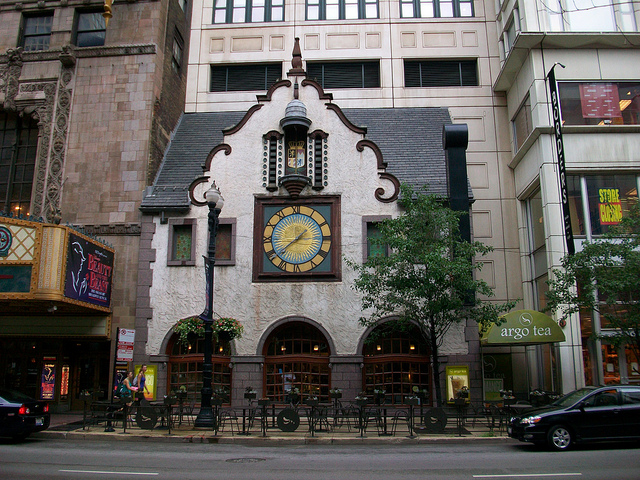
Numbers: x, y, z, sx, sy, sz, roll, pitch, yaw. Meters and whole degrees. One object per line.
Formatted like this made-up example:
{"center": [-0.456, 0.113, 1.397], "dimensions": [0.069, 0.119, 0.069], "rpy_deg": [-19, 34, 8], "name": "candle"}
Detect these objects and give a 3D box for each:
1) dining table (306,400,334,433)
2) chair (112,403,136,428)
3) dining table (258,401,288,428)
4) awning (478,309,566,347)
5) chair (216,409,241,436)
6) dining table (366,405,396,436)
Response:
{"center": [0.015, 6.817, 27.115], "dimensions": [0.979, 0.820, 0.999], "rpy_deg": [-9, -14, 16], "name": "dining table"}
{"center": [-8.035, 7.189, 28.528], "dimensions": [0.798, 0.912, 4.075], "rpy_deg": [5, -20, -14], "name": "chair"}
{"center": [-1.992, 6.998, 28.120], "dimensions": [1.323, 1.300, 1.343], "rpy_deg": [0, -14, 1], "name": "dining table"}
{"center": [8.516, 3.623, 29.037], "dimensions": [2.798, 1.297, 0.823], "rpy_deg": [-10, -22, 27], "name": "awning"}
{"center": [-3.672, 7.286, 27.671], "dimensions": [0.935, 1.385, 0.873], "rpy_deg": [-10, -20, 24], "name": "chair"}
{"center": [2.391, 6.841, 26.660], "dimensions": [1.221, 1.216, 1.237], "rpy_deg": [0, -16, -1], "name": "dining table"}
